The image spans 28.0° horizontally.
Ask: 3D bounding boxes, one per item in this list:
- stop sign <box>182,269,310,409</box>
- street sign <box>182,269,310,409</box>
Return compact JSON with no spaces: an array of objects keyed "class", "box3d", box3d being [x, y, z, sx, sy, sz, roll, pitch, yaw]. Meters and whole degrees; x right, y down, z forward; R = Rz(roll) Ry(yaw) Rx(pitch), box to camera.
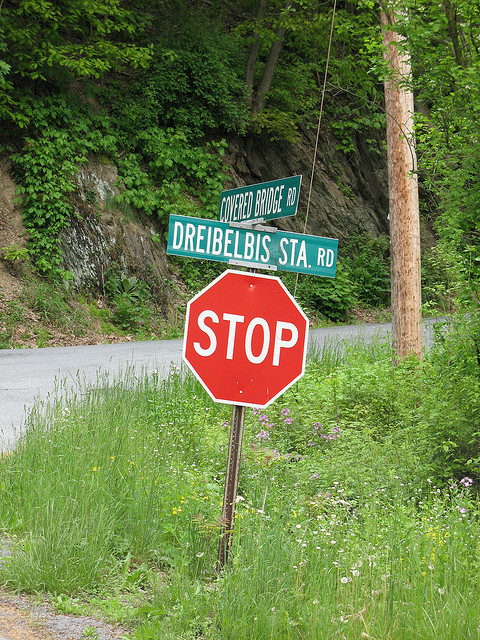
[{"class":"stop sign","box3d":[0.038,0.082,5.839,0.753,1.017,0.081,6,34,-1]},{"class":"street sign","box3d":[0.036,0.110,5.822,0.739,0.997,0.044,5,33,-2]}]
